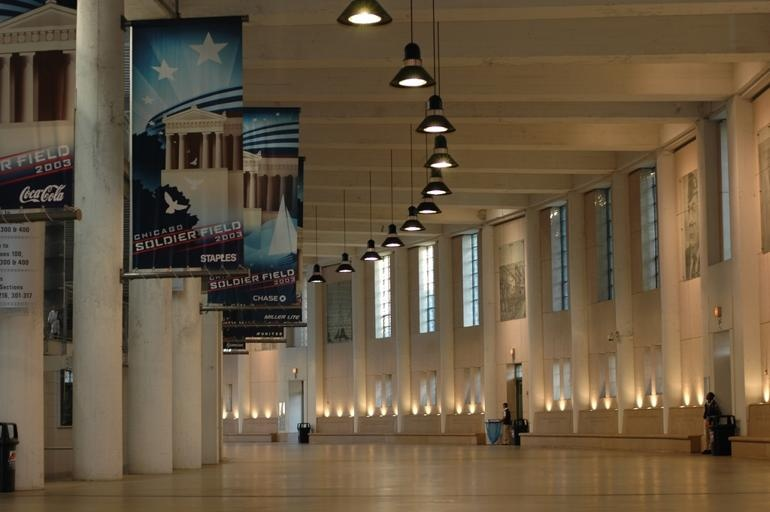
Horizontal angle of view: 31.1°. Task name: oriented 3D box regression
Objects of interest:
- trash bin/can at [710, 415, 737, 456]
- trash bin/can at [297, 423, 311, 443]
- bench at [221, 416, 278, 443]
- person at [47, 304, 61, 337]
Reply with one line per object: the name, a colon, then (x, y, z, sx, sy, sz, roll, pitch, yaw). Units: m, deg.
trash bin/can: (9.410, 5.074, 38.763, 0.621, 1.140, 0.935, -7, -13, 28)
trash bin/can: (-3.747, 8.420, 65.220, 0.796, 1.038, 0.763, -1, -4, -5)
bench: (-6.859, 8.827, 69.916, 0.570, 1.351, 4.155, 10, -16, -43)
person: (-9.079, 1.869, 37.978, 0.329, 0.894, 0.680, 2, -12, -14)
